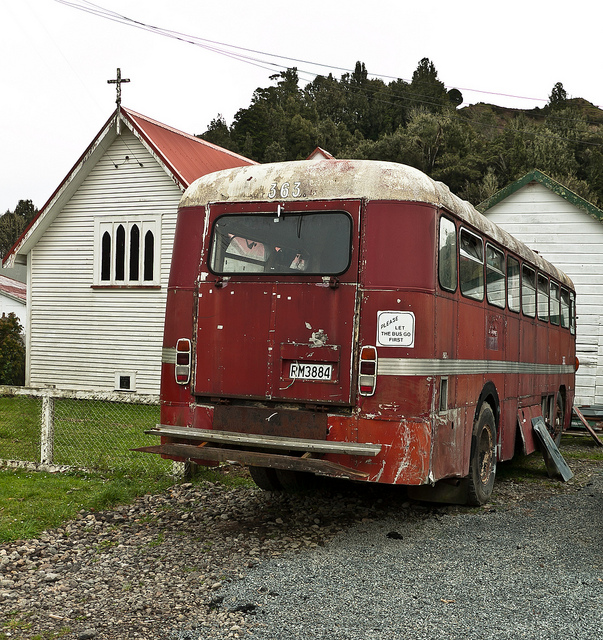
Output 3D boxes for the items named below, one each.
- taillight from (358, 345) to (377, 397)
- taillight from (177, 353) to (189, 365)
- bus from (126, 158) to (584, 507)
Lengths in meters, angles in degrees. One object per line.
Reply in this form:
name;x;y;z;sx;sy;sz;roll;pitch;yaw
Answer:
taillight;0.552;0.418;6.278;0.165;0.474;0.051;2;22;3
taillight;-1.087;0.344;6.899;0.092;0.105;0.023;3;-2;22
bus;1.736;0.373;9.670;2.591;3.307;7.714;0;-4;32
